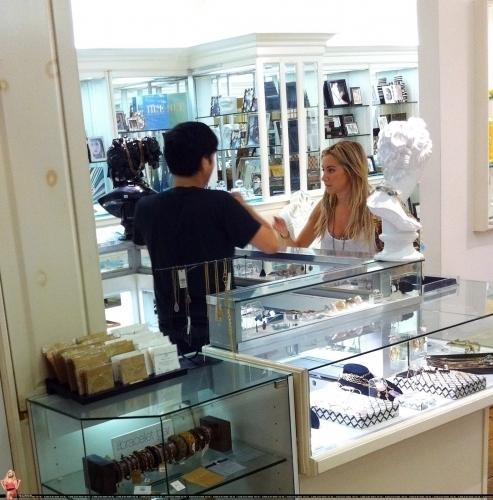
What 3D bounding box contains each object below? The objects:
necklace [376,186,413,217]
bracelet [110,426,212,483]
[{"bbox_3d":[0.551,-0.186,1.768,0.065,0.170,0.053,-47,-13,3],"label":"necklace"},{"bbox_3d":[-0.177,0.453,1.049,0.226,0.096,0.059,-11,11,-21],"label":"bracelet"}]
